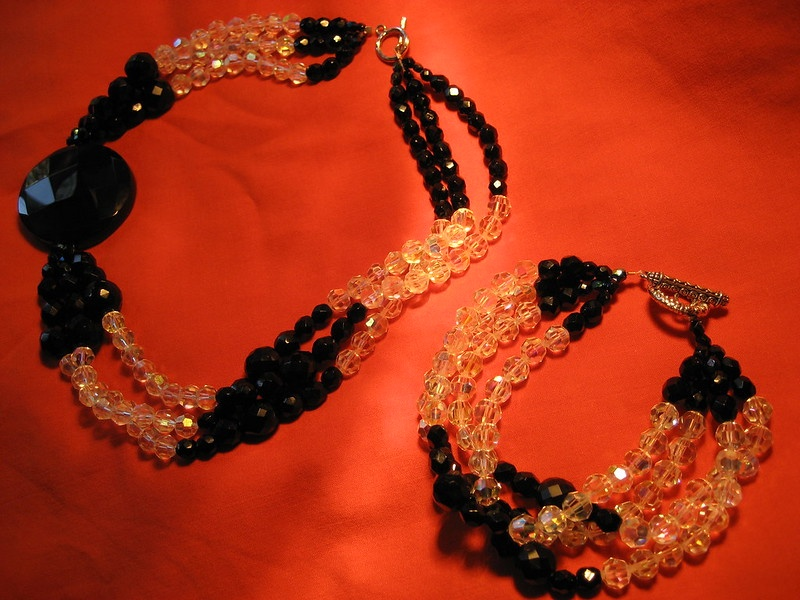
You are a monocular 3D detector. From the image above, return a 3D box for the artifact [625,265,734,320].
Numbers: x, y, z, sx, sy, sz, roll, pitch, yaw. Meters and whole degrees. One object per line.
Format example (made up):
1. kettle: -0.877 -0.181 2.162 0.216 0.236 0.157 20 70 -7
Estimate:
1. artifact: 0.940 -0.027 2.888 0.214 0.072 0.164 20 41 19
